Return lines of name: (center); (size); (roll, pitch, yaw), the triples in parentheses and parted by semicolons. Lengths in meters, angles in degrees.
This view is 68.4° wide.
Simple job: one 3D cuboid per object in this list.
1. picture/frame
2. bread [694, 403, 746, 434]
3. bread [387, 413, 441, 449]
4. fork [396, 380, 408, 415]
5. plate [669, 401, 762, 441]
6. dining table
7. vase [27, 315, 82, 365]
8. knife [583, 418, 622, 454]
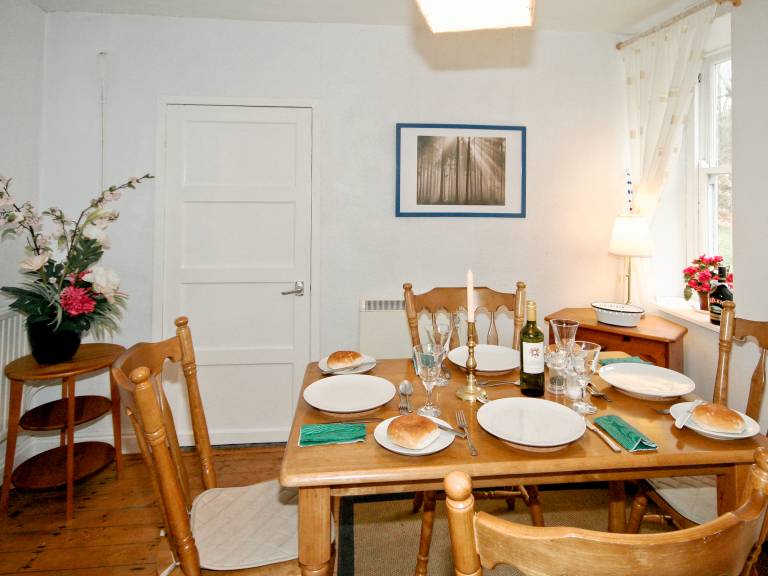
picture/frame: (0.482, -0.816, 3.851); (0.632, 0.460, 0.026); (0, 4, 0)
bread: (1.281, 0.484, 2.187); (0.111, 0.038, 0.124); (-2, 7, -14)
bread: (0.116, 0.544, 2.194); (0.211, 0.071, 0.223); (2, 10, 16)
fork: (0.076, 0.469, 2.409); (0.046, 0.021, 0.156); (-2, 29, -1)
plate: (1.290, 0.519, 2.191); (0.186, 0.052, 0.194); (-3, 7, -16)
dining table: (0.548, 0.684, 2.248); (1.080, 0.571, 0.823); (-1, 8, -8)
vase: (-1.912, 0.294, 3.252); (0.325, 0.273, 0.286); (5, 1, -29)
knife: (0.848, 0.571, 2.210); (0.038, 0.012, 0.223); (-24, 17, -9)
